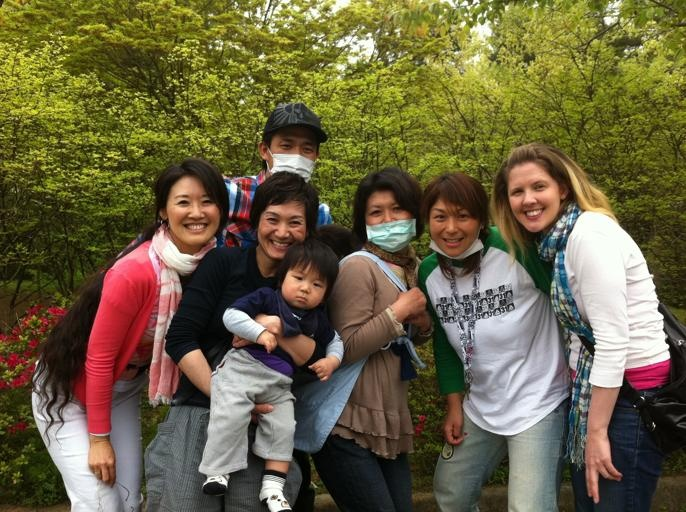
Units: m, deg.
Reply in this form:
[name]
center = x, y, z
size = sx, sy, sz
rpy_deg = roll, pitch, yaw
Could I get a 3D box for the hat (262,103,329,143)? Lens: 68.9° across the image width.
[hat]
center = -0.457, -1.122, 4.261
size = 0.393, 0.377, 0.297
rpy_deg = -9, 18, -29

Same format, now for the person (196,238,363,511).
[person]
center = -0.441, 0.748, 3.214
size = 1.038, 1.479, 0.414
rpy_deg = -6, 3, -39

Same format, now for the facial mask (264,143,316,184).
[facial mask]
center = -0.408, -0.764, 4.158
size = 0.313, 0.272, 0.222
rpy_deg = -4, 15, -27
